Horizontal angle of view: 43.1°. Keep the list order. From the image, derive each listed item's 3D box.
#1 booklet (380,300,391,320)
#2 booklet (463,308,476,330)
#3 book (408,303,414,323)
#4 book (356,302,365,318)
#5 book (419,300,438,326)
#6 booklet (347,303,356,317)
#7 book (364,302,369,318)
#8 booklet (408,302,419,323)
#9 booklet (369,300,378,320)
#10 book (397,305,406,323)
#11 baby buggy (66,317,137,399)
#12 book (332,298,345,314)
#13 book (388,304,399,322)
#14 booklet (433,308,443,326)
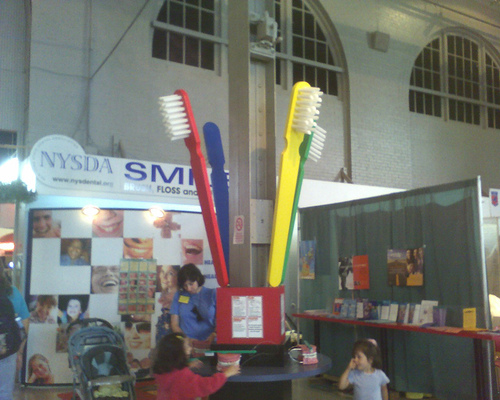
[{"bbox_3d":[1.918,1.558,8.938,0.033,0.327,0.163,23,-25,-28],"label":"booklet"},{"bbox_3d":[2.823,1.523,8.108,0.200,0.393,0.039,-5,-13,29],"label":"booklet"},{"bbox_3d":[2.205,1.540,8.641,0.086,0.248,0.072,-7,-9,38],"label":"book"},{"bbox_3d":[1.611,1.601,9.210,0.025,0.259,0.172,12,-16,-40],"label":"book"},{"bbox_3d":[2.395,1.521,8.452,0.043,0.485,0.260,20,-13,-28],"label":"book"},{"bbox_3d":[1.500,1.621,9.336,0.047,0.199,0.153,4,-10,-37],"label":"booklet"},{"bbox_3d":[1.687,1.576,9.139,0.072,0.186,0.057,-5,-8,27],"label":"book"},{"bbox_3d":[2.215,1.541,8.630,0.110,0.254,0.082,-6,-9,30],"label":"booklet"},{"bbox_3d":[1.782,1.570,9.063,0.119,0.255,0.098,-4,-8,21],"label":"booklet"},{"bbox_3d":[2.098,1.564,8.736,0.071,0.224,0.100,5,-10,-39],"label":"book"},{"bbox_3d":[-1.781,1.975,7.813,0.686,1.332,0.738,5,-5,-41],"label":"baby buggy"},{"bbox_3d":[1.353,1.610,9.590,0.199,0.223,0.107,-1,-4,38],"label":"book"},{"bbox_3d":[2.012,1.570,8.832,0.082,0.233,0.140,4,-10,-38],"label":"book"},{"bbox_3d":[2.486,1.550,8.355,0.190,0.199,0.077,-5,-10,44],"label":"booklet"}]
